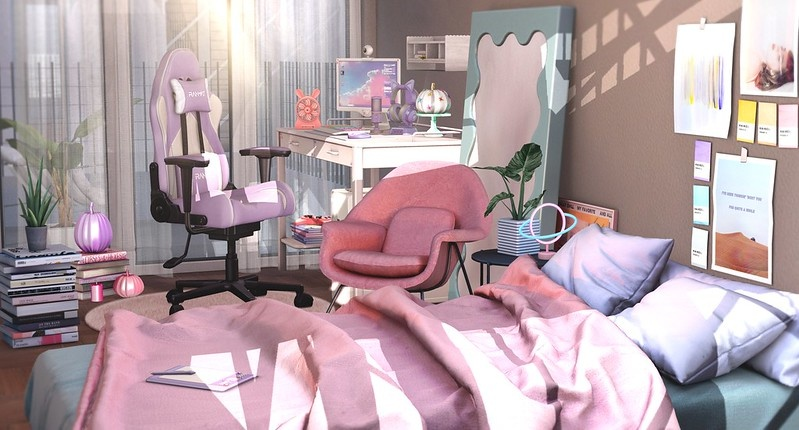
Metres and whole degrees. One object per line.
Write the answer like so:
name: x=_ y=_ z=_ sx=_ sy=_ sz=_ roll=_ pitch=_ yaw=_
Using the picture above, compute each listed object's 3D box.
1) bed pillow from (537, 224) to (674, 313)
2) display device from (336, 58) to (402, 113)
bed pillow: x=1.271 y=0.285 z=3.237 sx=0.566 sy=0.165 sz=0.537 roll=26 pitch=66 yaw=44
display device: x=-0.326 y=-1.340 z=5.770 sx=0.863 sy=0.645 sz=0.096 roll=13 pitch=18 yaw=37
